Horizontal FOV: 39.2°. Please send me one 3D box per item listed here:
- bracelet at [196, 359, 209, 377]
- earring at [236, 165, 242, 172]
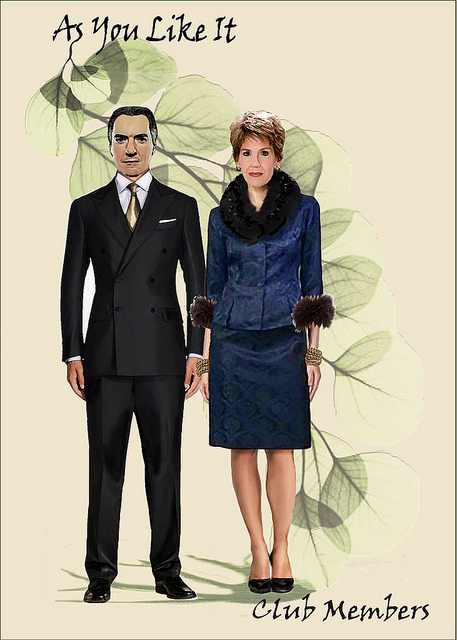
[{"bbox_3d":[-0.115,0.216,2.874,0.078,0.080,0.013,3,3,42],"label":"bracelet"},{"bbox_3d":[0.046,-0.676,2.870,0.006,0.025,0.026,-11,14,-44],"label":"earring"}]
